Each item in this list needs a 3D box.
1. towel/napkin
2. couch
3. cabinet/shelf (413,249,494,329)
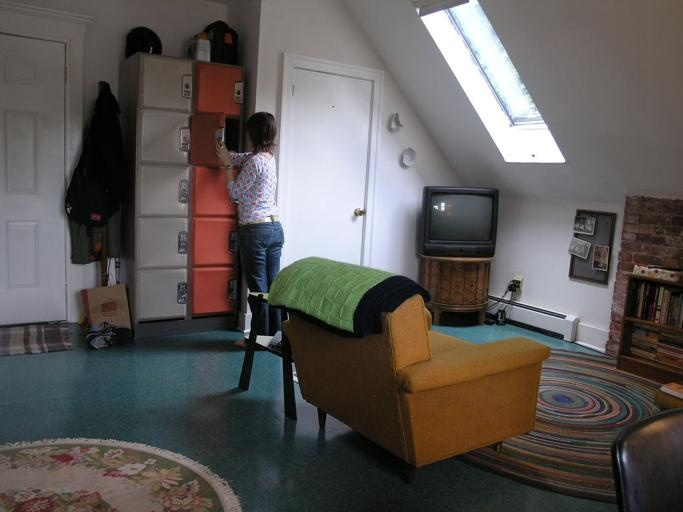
[{"bbox_3d":[-0.010,0.192,2.602,0.431,0.229,0.670,-15,18,-39],"label":"towel/napkin"},{"bbox_3d":[0.376,0.532,2.918,1.255,1.205,1.326,-7,11,-33],"label":"couch"},{"bbox_3d":[1.296,0.356,5.594,0.718,0.699,0.799,1,5,7],"label":"cabinet/shelf"}]
